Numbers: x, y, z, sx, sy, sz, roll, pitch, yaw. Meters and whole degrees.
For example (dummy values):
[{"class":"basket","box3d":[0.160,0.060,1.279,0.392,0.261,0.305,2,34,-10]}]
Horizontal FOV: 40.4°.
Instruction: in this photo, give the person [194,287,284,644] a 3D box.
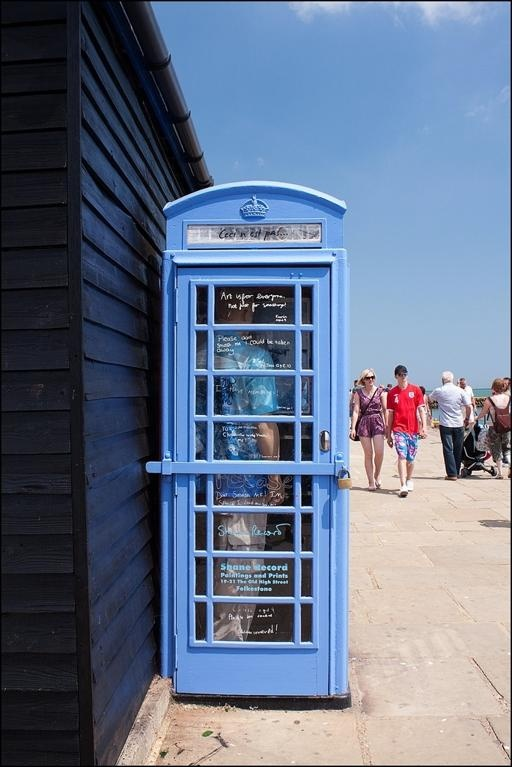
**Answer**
[{"class":"person","box3d":[-0.035,0.349,3.354,0.434,2.175,0.151,1,32,1]}]

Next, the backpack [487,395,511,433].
[{"class":"backpack","box3d":[2.859,0.391,8.094,0.194,0.413,0.879,0,1,10]}]

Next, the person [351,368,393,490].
[{"class":"person","box3d":[1.451,0.581,8.864,0.464,1.518,0.382,-1,0,14]}]

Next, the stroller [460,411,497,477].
[{"class":"stroller","box3d":[3.338,0.950,10.716,0.522,0.816,0.491,-13,-10,15]}]

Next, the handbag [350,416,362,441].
[{"class":"handbag","box3d":[1.334,0.600,9.285,0.196,0.226,0.392,-9,17,2]}]

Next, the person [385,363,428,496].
[{"class":"person","box3d":[1.916,0.588,8.855,0.453,1.611,0.770,0,1,12]}]

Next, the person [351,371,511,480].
[{"class":"person","box3d":[2.454,0.693,9.710,1.427,1.333,0.380,2,-9,-13]}]
